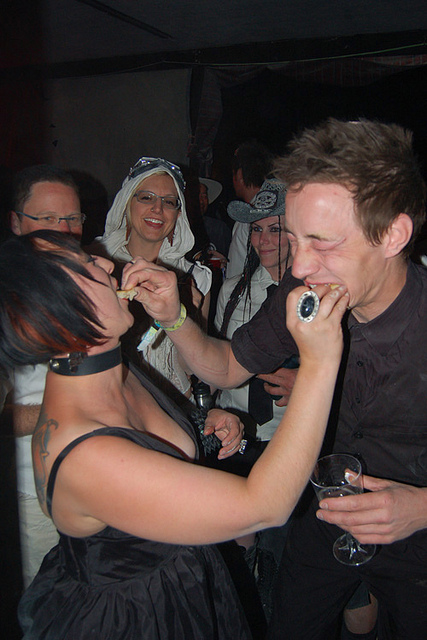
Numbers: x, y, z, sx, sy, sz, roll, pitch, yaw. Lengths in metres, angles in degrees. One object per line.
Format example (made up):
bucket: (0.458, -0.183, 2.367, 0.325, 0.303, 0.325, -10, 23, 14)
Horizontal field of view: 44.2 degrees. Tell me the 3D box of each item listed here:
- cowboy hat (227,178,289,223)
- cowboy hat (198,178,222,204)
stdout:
cowboy hat: (0.353, -0.739, 3.216, 0.379, 0.210, 0.544, 18, 27, 33)
cowboy hat: (-0.020, -1.199, 4.921, 0.157, 0.189, 0.368, 7, 12, 17)
